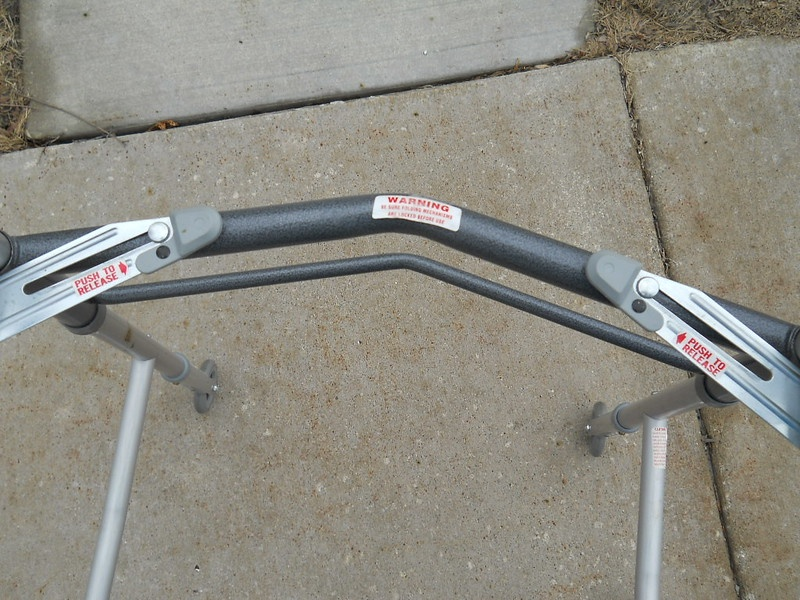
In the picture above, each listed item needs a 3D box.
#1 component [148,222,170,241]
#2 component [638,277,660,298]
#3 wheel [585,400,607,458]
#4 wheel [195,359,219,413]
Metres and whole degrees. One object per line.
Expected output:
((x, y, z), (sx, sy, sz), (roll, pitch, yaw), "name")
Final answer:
((-0.858, -0.244, 3.051), (0.062, 0.015, 0.073), (0, 90, -6), "component")
((0.869, -0.043, 2.997), (0.062, 0.016, 0.072), (-7, 92, -2), "component")
((0.954, 0.613, 4.114), (0.056, 0.241, 0.271), (-1, 81, 36), "wheel")
((-0.928, 0.422, 4.159), (0.065, 0.200, 0.209), (3, 63, 9), "wheel")
